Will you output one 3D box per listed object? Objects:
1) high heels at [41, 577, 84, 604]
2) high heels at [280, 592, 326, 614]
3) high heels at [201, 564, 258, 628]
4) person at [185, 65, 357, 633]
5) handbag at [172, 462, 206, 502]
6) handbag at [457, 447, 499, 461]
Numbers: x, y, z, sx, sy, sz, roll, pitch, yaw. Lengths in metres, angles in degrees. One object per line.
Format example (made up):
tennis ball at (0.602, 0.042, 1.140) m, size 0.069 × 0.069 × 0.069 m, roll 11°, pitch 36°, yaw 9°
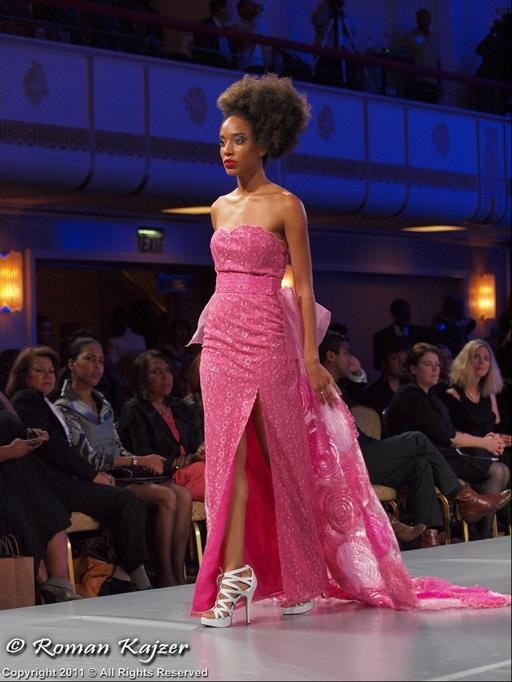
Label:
high heels at (-0.768, 0.961, 2.576) m, size 0.223 × 0.073 × 0.069 m, roll 3°, pitch -7°, yaw -41°
high heels at (0.126, 0.741, 1.874) m, size 0.052 × 0.056 × 0.154 m, roll -16°, pitch -18°, yaw 33°
high heels at (-0.051, 0.649, 1.691) m, size 0.158 × 0.147 × 0.129 m, roll 11°, pitch -19°, yaw -44°
person at (0.015, -0.015, 1.877) m, size 0.471 × 1.527 × 0.489 m, roll -5°, pitch -15°, yaw 6°
handbag at (-0.288, 0.673, 3.127) m, size 0.237 × 0.195 × 0.157 m, roll 0°, pitch -31°, yaw -4°
handbag at (1.338, 0.683, 3.991) m, size 0.202 × 0.042 × 0.110 m, roll 19°, pitch -8°, yaw -27°
